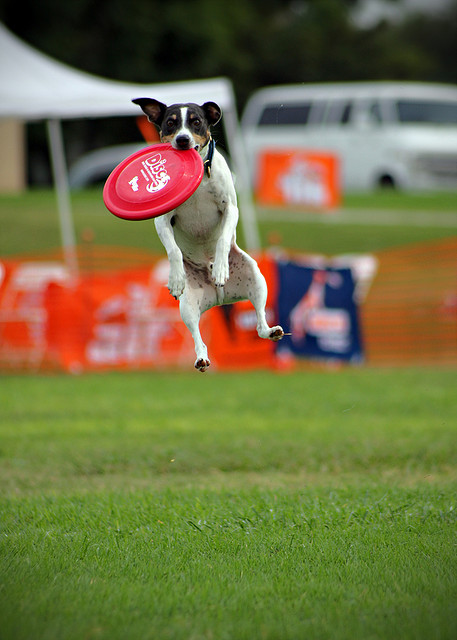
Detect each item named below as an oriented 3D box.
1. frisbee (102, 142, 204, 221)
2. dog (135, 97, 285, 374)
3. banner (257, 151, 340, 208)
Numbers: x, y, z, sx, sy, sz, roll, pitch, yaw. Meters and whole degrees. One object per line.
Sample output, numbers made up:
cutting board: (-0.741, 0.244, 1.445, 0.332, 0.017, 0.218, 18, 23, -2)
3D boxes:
frisbee: (-0.379, -0.738, 4.149, 0.635, 0.432, 0.366, 2, 5, 34)
dog: (-0.122, -0.568, 4.349, 0.649, 1.189, 1.413, -10, 57, 4)
banner: (1.174, -2.227, 12.591, 0.253, 0.899, 1.905, -9, 14, -37)
